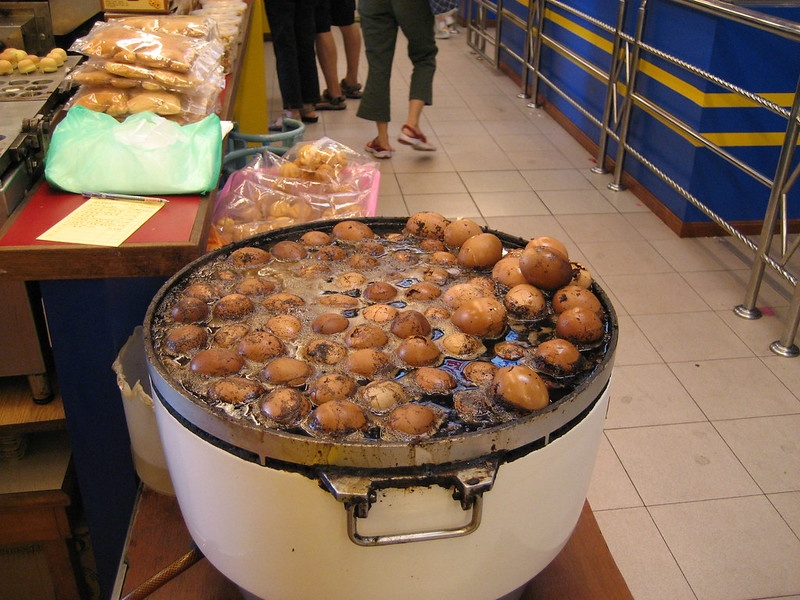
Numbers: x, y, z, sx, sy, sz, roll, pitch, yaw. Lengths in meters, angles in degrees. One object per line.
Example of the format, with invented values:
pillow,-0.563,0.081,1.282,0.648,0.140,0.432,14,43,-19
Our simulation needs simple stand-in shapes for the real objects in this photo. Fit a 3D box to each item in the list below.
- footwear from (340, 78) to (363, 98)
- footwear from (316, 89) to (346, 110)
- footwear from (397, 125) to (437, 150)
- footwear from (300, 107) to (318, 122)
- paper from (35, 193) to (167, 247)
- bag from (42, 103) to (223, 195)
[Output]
footwear,-0.447,-1.952,5.461,0.129,0.127,0.321,-6,39,-8
footwear,-0.621,-1.754,5.220,0.286,0.112,0.156,25,49,25
footwear,0.112,-1.165,4.318,0.328,0.128,0.122,10,24,-47
footwear,-0.755,-1.520,4.848,0.102,0.099,0.266,3,34,5
paper,-0.722,-0.195,1.429,0.204,0.020,0.244,3,36,6
bag,-0.708,-0.388,1.569,0.326,0.117,0.299,1,40,-10
